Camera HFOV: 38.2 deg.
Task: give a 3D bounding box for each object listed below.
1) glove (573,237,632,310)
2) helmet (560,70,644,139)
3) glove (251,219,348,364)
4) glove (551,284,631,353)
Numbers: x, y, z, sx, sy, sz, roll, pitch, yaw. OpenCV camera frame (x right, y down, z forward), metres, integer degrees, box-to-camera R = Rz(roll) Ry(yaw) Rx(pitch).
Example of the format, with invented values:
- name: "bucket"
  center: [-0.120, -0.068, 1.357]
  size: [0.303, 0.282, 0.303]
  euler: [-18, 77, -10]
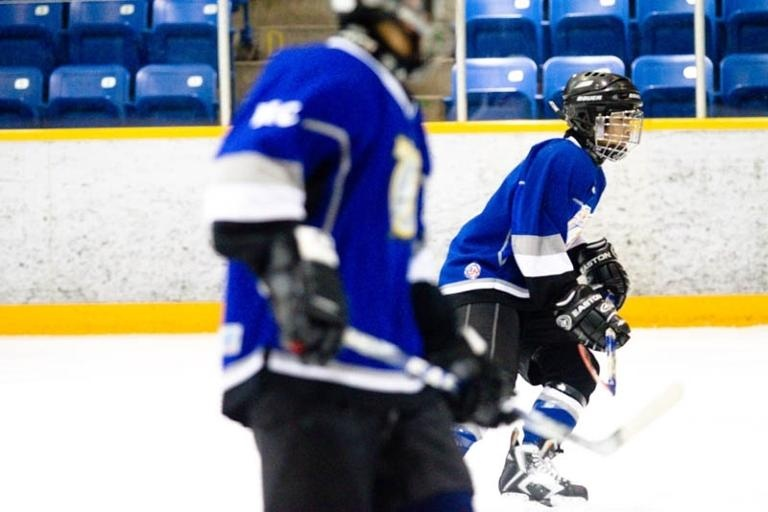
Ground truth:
- name: "glove"
  center: [1.290, 0.103, 6.469]
  size: [0.301, 0.411, 0.180]
  euler: [-28, -7, 6]
- name: "helmet"
  center: [1.256, -0.876, 6.433]
  size: [0.420, 0.361, 0.346]
  euler: [-1, -1, 41]
- name: "glove"
  center: [-0.298, 0.142, 4.553]
  size: [0.327, 0.519, 0.161]
  euler: [8, -16, -27]
- name: "glove"
  center: [1.095, 0.351, 6.132]
  size: [0.313, 0.425, 0.168]
  euler: [-49, 12, -18]
